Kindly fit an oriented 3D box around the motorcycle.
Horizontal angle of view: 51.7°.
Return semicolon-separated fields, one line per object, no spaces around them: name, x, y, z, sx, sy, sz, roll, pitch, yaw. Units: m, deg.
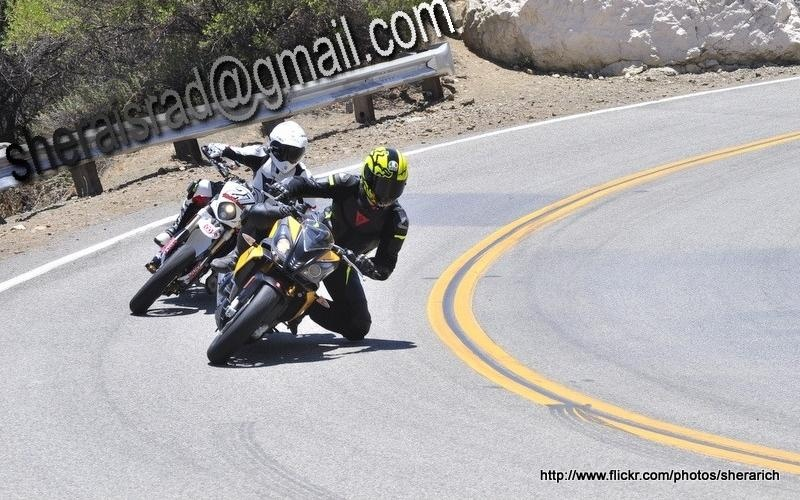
motorcycle;-1.913;0.092;9.825;2.012;1.750;3.356;-39;7;-3

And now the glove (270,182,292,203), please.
glove;-1.404;-0.686;9.859;0.214;0.224;0.116;8;14;41

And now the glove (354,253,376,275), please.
glove;-0.405;0.166;9.508;0.159;0.099;0.329;-4;9;-12

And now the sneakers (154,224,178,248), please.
sneakers;-3.403;-0.187;12.074;0.236;0.148;0.445;-19;18;42
